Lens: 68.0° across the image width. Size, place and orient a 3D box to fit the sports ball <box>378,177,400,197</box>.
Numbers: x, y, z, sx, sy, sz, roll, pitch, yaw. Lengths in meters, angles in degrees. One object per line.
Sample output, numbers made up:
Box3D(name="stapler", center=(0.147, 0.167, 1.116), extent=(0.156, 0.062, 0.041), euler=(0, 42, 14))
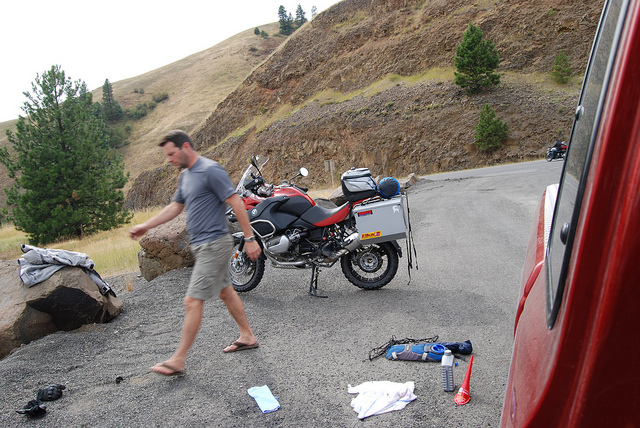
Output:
Box3D(name="sports ball", center=(1.014, -0.392, 6.957), extent=(0.303, 0.257, 0.234), euler=(-4, 11, 10))

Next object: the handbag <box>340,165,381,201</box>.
Box3D(name="handbag", center=(0.622, -0.473, 7.260), extent=(0.560, 0.617, 0.410), euler=(-13, 2, 7))

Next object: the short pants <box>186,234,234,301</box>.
Box3D(name="short pants", center=(-1.278, 0.617, 5.461), extent=(0.327, 0.687, 0.582), euler=(1, 13, 32))

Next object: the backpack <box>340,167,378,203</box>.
Box3D(name="backpack", center=(0.570, -0.459, 7.269), extent=(0.559, 0.621, 0.413), euler=(-13, 4, 10))

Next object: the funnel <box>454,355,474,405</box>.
Box3D(name="funnel", center=(1.411, 1.654, 4.650), extent=(0.159, 0.150, 0.410), euler=(10, 45, 24))

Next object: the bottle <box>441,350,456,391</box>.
Box3D(name="bottle", center=(1.292, 1.579, 4.756), extent=(0.114, 0.394, 0.094), euler=(4, -22, 0))
